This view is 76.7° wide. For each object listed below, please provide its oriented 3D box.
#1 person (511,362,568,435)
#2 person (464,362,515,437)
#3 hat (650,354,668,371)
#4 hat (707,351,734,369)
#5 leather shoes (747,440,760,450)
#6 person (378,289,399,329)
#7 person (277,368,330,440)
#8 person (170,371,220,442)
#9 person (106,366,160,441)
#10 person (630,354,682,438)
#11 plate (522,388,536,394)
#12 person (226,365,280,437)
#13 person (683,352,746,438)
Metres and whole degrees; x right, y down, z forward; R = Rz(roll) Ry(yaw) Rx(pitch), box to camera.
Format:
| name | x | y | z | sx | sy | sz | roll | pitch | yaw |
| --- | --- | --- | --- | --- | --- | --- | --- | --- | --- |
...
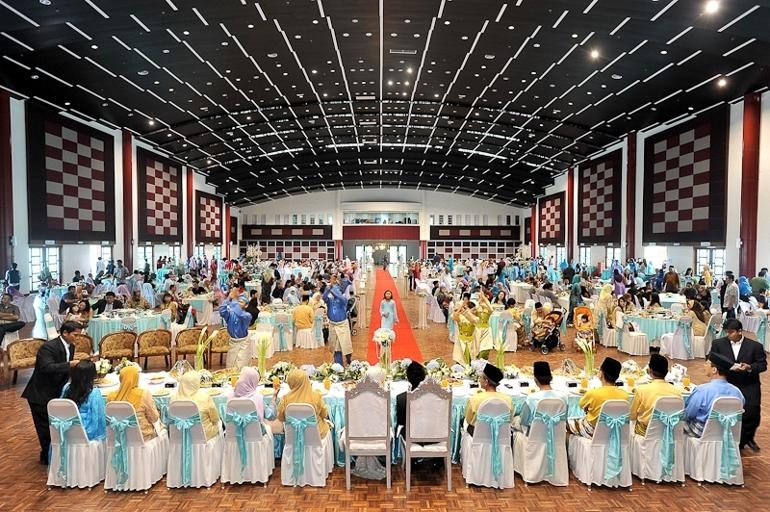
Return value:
| name | x | y | z | sx | sy | sz | roll | pitch | yaw |
| --- | --- | --- | --- | --- | --- | --- | --- | --- | --- |
| person | 2.378 | 2.107 | 7.394 | 0.774 | 1.102 | 0.847 | -2 | 9 | 13 |
| person | 1.582 | 2.186 | 7.370 | 0.751 | 1.127 | 0.570 | 1 | 1 | -2 |
| hat | 4.074 | 1.583 | 7.271 | 0.211 | 0.142 | 0.267 | 4 | -6 | 6 |
| hat | 5.022 | 1.557 | 7.293 | 0.280 | 0.115 | 0.239 | 11 | 6 | 16 |
| leather shoes | 5.983 | 3.052 | 7.923 | 0.085 | 0.100 | 0.245 | -2 | 1 | 23 |
| person | 0.089 | 1.328 | 12.204 | 0.332 | 0.963 | 0.621 | 0 | -1 | 4 |
| person | -1.248 | 2.264 | 7.340 | 0.864 | 1.299 | 0.694 | 2 | 29 | 1 |
| person | -2.880 | 2.288 | 7.372 | 0.751 | 1.075 | 0.572 | -3 | 5 | -6 |
| person | -3.801 | 2.221 | 7.425 | 0.776 | 1.131 | 0.765 | -2 | 0 | -26 |
| person | 4.013 | 2.073 | 7.399 | 0.722 | 1.167 | 0.707 | 3 | 12 | -8 |
| plate | 2.290 | 2.140 | 7.766 | 0.121 | 0.039 | 0.123 | 0 | -5 | -35 |
| person | -2.000 | 2.337 | 7.691 | 0.718 | 1.201 | 0.653 | -8 | 12 | -44 |
| person | 4.784 | 2.048 | 7.158 | 0.802 | 1.207 | 0.421 | 0 | -1 | -13 |
